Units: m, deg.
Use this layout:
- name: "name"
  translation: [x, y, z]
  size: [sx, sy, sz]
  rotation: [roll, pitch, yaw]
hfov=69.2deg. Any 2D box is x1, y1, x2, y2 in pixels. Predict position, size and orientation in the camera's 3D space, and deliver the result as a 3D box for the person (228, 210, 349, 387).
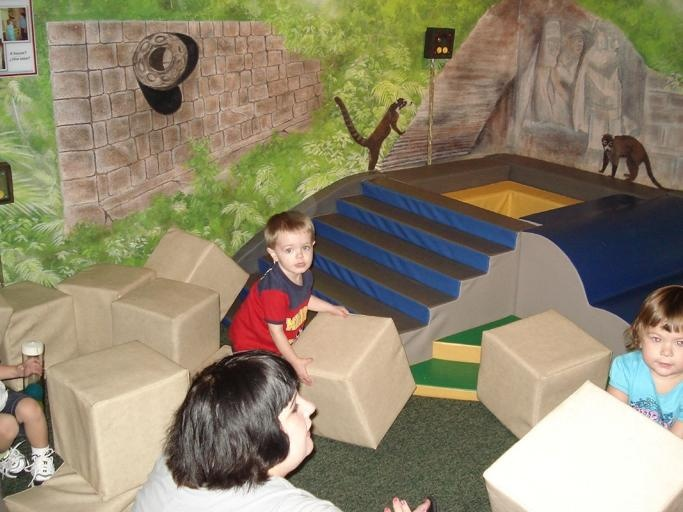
- name: "person"
  translation: [-0.301, 0.378, 2.663]
  size: [0.609, 1.214, 0.555]
  rotation: [12, 30, 10]
